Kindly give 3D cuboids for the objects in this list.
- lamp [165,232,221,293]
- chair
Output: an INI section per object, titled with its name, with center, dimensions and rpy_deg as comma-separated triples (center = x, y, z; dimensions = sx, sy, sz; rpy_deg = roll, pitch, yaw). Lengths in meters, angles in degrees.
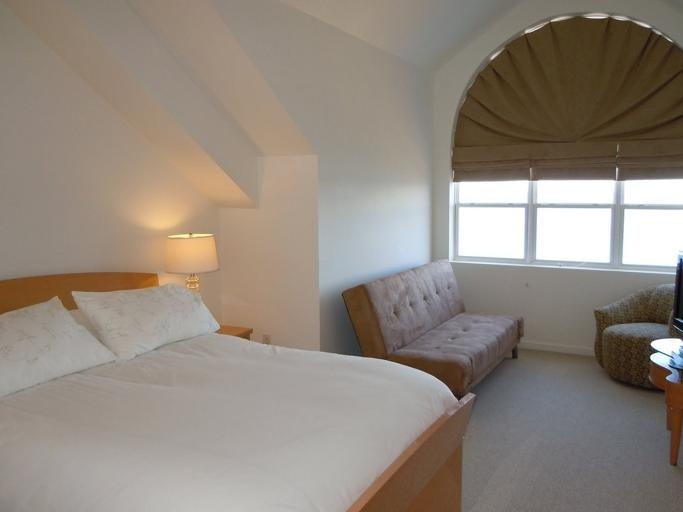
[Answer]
[lamp]
center = -1.313, 0.042, 4.005
dimensions = 0.414, 0.511, 0.415
rpy_deg = -8, 18, -38
[chair]
center = 2.891, 0.704, 4.789
dimensions = 0.825, 1.013, 0.896
rpy_deg = -1, 3, -34
